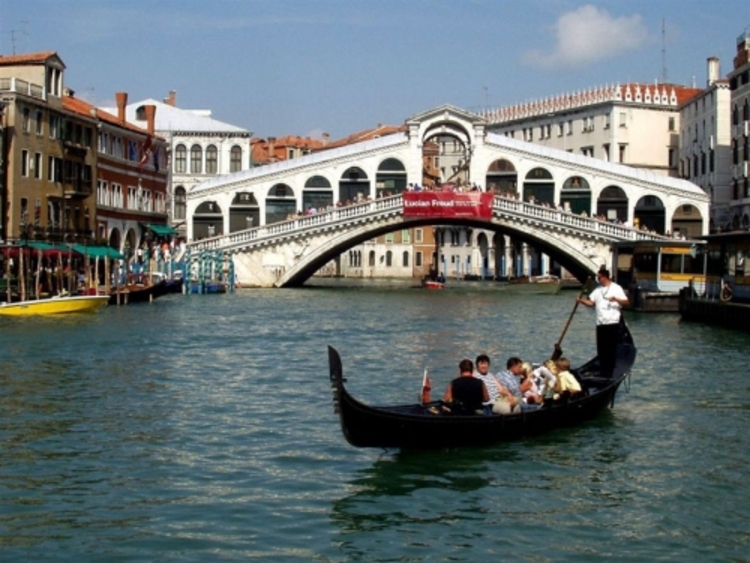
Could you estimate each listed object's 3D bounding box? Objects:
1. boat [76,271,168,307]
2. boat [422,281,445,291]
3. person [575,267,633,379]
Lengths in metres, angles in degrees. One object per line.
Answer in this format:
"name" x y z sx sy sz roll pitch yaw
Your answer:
"boat" -11.894 0.497 66.687 3.190 1.530 1.421 -5 7 -17
"boat" 3.870 0.304 91.766 1.594 0.568 1.379 3 10 15
"person" 6.114 1.163 36.177 1.377 2.726 0.946 1 -4 15
